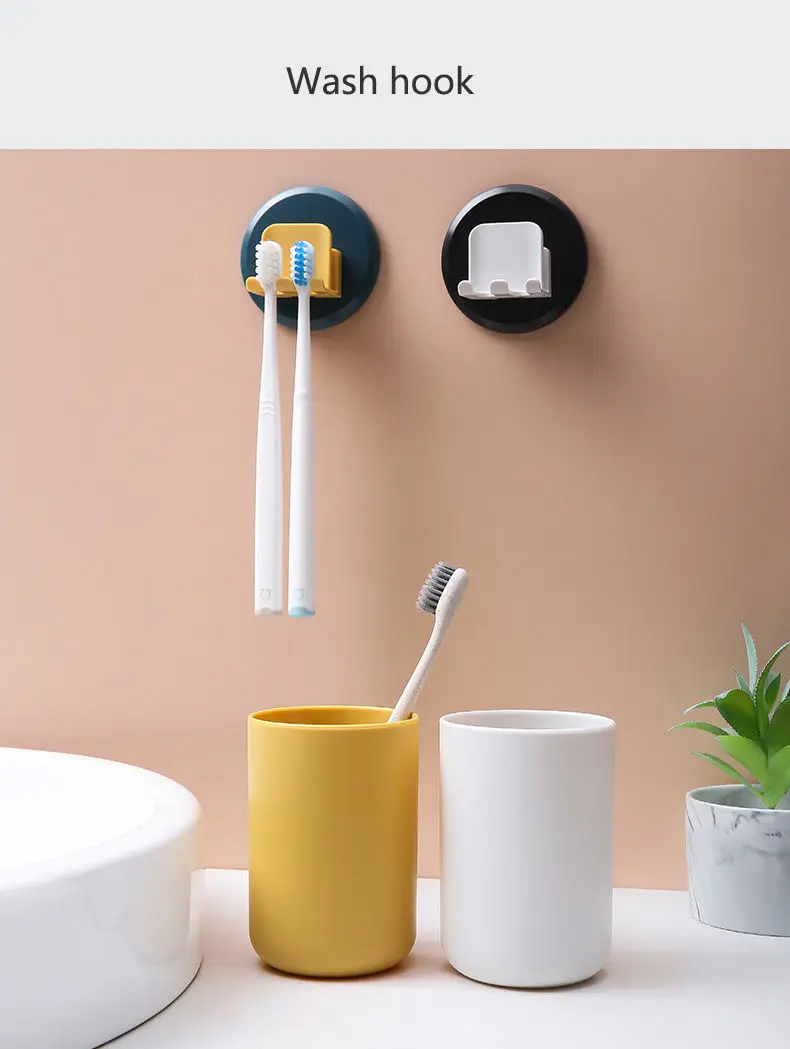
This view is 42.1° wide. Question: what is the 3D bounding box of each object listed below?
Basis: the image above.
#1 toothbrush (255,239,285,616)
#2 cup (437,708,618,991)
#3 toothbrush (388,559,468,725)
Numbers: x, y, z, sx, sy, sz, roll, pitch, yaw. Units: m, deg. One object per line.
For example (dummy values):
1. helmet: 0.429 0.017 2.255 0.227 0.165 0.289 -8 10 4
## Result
1. toothbrush: -0.092 -0.069 0.758 0.019 0.270 0.049 0 3 -7
2. cup: 0.072 0.198 0.650 0.120 0.192 0.132 0 -30 0
3. toothbrush: 0.034 0.067 0.670 0.034 0.127 0.013 4 -28 44
